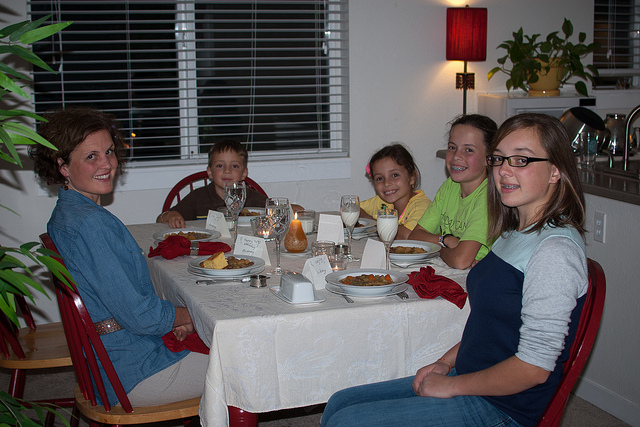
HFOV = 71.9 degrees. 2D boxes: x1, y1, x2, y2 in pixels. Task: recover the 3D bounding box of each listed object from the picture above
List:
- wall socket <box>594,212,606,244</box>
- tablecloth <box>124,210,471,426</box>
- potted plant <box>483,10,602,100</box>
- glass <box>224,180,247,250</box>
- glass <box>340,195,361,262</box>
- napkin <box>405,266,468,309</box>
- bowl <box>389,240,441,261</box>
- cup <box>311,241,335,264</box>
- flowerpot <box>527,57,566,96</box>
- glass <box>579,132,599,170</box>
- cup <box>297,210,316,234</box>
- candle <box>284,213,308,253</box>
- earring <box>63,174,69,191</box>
[{"bbox_3d":[1.514,0.075,2.374,0.022,0.157,0.074,-9,12,-20],"label":"wall socket"},{"bbox_3d":[0.006,0.326,1.486,0.750,0.235,0.950,-3,16,-21],"label":"tablecloth"},{"bbox_3d":[1.936,-1.251,3.749,0.625,0.425,0.740,15,14,26],"label":"potted plant"},{"bbox_3d":[-0.413,0.011,2.141,0.112,0.317,0.105,-3,6,-20],"label":"glass"},{"bbox_3d":[0.125,0.070,1.919,0.111,0.258,0.106,3,-11,-30],"label":"glass"},{"bbox_3d":[0.376,0.244,1.577,0.212,0.056,0.241,3,5,8],"label":"napkin"},{"bbox_3d":[0.401,0.157,1.917,0.124,0.026,0.126,-2,16,0],"label":"bowl"},{"bbox_3d":[0.018,0.155,1.780,0.082,0.058,0.079,0,3,0],"label":"cup"},{"bbox_3d":[1.920,-1.130,3.785,0.295,0.277,0.300,3,10,32],"label":"flowerpot"},{"bbox_3d":[1.725,-0.403,2.835,0.102,0.223,0.198,3,13,30],"label":"glass"},{"bbox_3d":[-0.082,0.037,2.240,0.103,0.113,0.107,1,13,0],"label":"cup"},{"bbox_3d":[-0.114,0.095,2.048,0.124,0.177,0.125,5,12,23],"label":"candle"},{"bbox_3d":[-0.948,-0.117,1.634,0.021,0.052,0.051,-11,13,-28],"label":"earring"}]
